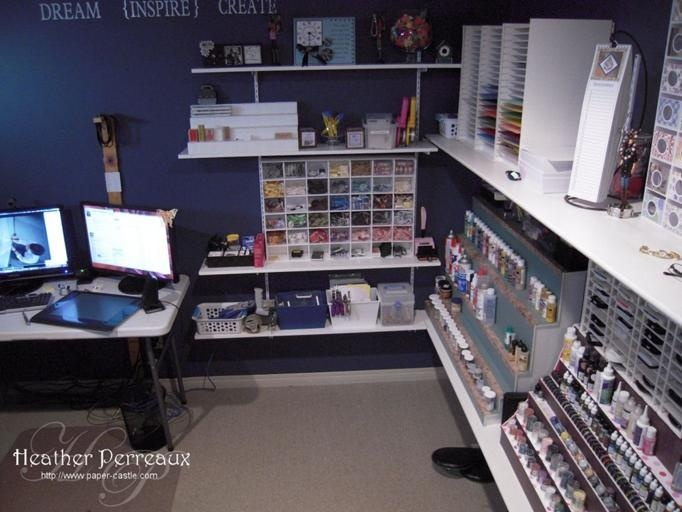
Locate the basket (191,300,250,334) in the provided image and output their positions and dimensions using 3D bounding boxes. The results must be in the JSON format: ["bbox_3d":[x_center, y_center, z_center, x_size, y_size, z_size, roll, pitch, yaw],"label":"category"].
[{"bbox_3d":[-0.962,0.492,3.989,0.361,0.128,0.262,0,29,-1],"label":"basket"}]

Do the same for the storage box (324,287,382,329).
[{"bbox_3d":[0.096,0.398,3.955,0.373,0.247,0.275,-1,21,-3],"label":"storage box"}]

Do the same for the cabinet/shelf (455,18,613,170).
[{"bbox_3d":[1.030,-0.844,2.649,0.409,0.738,1.003,-2,25,-6],"label":"cabinet/shelf"}]

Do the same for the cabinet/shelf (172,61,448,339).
[{"bbox_3d":[-0.084,-0.606,3.828,2.021,1.651,0.394,-5,23,-3],"label":"cabinet/shelf"}]

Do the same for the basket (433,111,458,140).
[{"bbox_3d":[0.779,-0.961,3.719,0.144,0.112,0.196,-1,26,-2],"label":"basket"}]

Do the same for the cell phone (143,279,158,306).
[{"bbox_3d":[-1.306,0.257,3.447,0.110,0.204,0.104,-12,32,-41],"label":"cell phone"}]

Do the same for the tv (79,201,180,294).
[{"bbox_3d":[-1.542,-0.046,3.651,0.595,0.471,0.186,5,22,16],"label":"tv"}]

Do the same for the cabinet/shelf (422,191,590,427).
[{"bbox_3d":[1.003,0.314,3.037,0.493,0.832,1.571,-2,27,1],"label":"cabinet/shelf"}]

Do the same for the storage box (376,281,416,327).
[{"bbox_3d":[0.439,0.398,4.101,0.285,0.297,0.298,-2,28,-2],"label":"storage box"}]

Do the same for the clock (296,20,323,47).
[{"bbox_3d":[-0.228,-1.581,3.550,0.192,0.171,0.063,1,24,11],"label":"clock"}]

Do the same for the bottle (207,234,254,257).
[{"bbox_3d":[-0.858,-0.073,3.916,0.229,0.064,0.225,0,24,0],"label":"bottle"}]

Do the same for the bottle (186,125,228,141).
[{"bbox_3d":[-0.943,-0.883,3.618,0.293,0.129,0.110,-8,24,-11],"label":"bottle"}]

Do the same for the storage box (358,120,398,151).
[{"bbox_3d":[0.287,-0.869,3.612,0.205,0.206,0.213,0,20,-1],"label":"storage box"}]

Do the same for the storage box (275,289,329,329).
[{"bbox_3d":[-0.311,0.420,3.992,0.363,0.204,0.250,-1,15,-5],"label":"storage box"}]
